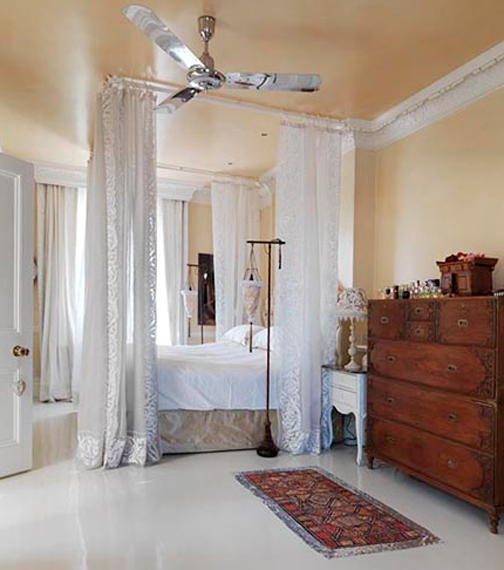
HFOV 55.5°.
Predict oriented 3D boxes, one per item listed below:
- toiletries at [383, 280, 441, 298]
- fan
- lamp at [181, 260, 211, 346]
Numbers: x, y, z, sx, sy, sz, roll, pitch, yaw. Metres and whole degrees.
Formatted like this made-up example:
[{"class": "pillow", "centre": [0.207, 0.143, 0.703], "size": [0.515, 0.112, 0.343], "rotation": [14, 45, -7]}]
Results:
[{"class": "toiletries", "centre": [1.299, 0.032, 3.720], "size": [0.318, 0.156, 0.599], "rotation": [2, -4, -15]}, {"class": "fan", "centre": [-0.188, -1.391, 2.901], "size": [0.771, 0.320, 0.728], "rotation": [11, -31, -18]}, {"class": "lamp", "centre": [-0.805, 0.202, 7.353], "size": [0.496, 1.382, 0.135], "rotation": [2, -3, -29]}]
